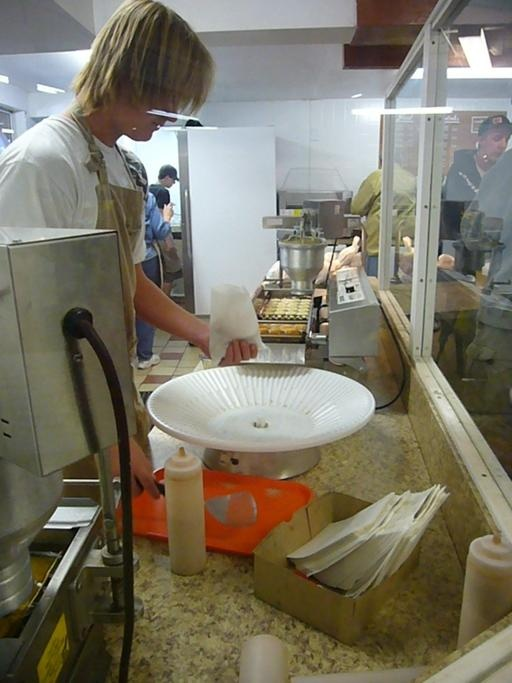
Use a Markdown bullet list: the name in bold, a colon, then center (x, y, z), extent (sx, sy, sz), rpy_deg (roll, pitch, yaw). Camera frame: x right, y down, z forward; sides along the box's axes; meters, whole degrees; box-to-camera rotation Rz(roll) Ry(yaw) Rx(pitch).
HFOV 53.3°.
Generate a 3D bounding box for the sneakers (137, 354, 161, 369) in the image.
- **sneakers**: center (-0.816, 0.152, 3.857), extent (0.073, 0.081, 0.199), rpy_deg (13, 29, 25)

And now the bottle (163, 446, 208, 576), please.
- **bottle**: center (-0.095, 0.224, 0.684), extent (0.051, 0.200, 0.063), rpy_deg (-2, 17, -7)

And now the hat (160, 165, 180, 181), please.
- **hat**: center (-0.810, -1.589, 4.808), extent (0.123, 0.099, 0.174), rpy_deg (20, 35, 18)

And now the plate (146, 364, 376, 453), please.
- **plate**: center (0.007, 0.120, 1.001), extent (0.261, 0.052, 0.248), rpy_deg (-2, 12, -12)
